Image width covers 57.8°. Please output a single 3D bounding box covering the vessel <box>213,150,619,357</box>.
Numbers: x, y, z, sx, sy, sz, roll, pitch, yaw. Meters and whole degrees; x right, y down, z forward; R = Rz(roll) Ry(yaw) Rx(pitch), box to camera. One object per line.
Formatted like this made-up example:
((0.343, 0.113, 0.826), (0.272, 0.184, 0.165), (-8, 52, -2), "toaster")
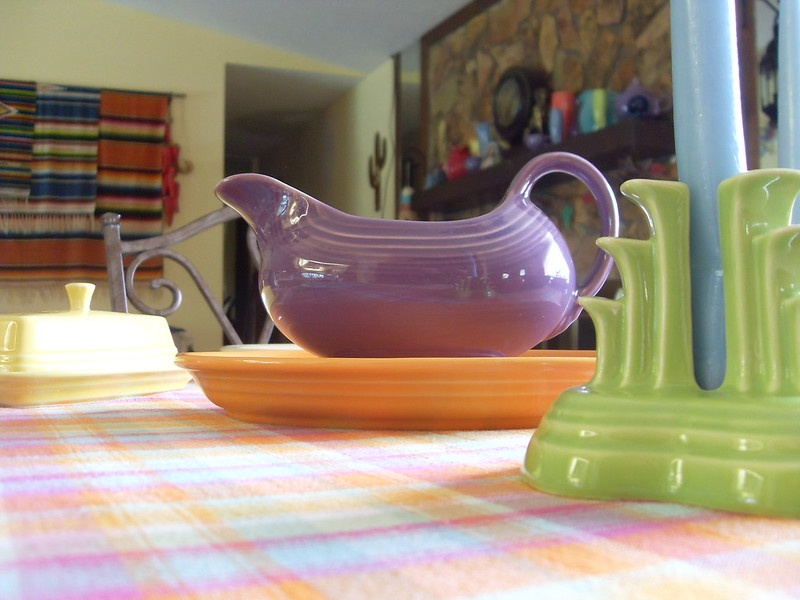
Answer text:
((0.012, -0.030, 0.466), (0.252, 0.133, 0.089), (0, 1, -13), "vessel")
